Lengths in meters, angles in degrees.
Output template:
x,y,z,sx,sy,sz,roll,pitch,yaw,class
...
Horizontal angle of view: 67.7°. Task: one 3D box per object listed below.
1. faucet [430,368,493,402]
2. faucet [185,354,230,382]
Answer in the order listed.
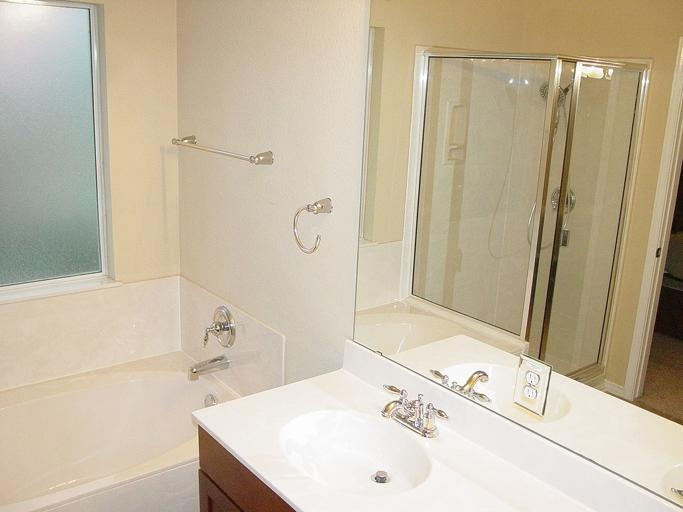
x,y,z,sx,sy,sz,roll,pitch,yaw,class
0.394,0.415,1.632,0.104,0.043,0.111,26,-7,34,faucet
-0.677,0.550,2.574,0.198,0.069,0.103,-9,18,-34,faucet
